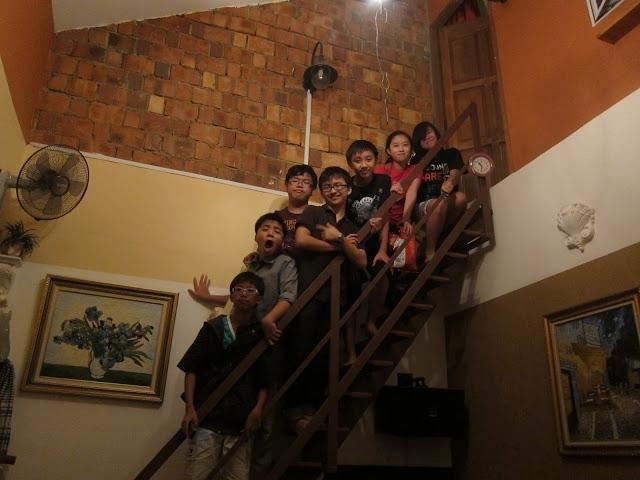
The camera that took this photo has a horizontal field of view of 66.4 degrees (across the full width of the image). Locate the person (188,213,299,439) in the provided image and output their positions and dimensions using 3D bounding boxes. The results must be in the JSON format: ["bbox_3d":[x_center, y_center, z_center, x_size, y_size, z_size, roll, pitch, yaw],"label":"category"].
[{"bbox_3d":[-0.363,0.448,3.783,0.952,1.627,0.876,-7,-59,-5],"label":"person"}]

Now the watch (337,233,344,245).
[{"bbox_3d":[0.148,-0.006,3.599,0.040,0.065,0.019,-13,-44,12],"label":"watch"}]

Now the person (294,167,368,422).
[{"bbox_3d":[0.089,0.358,3.683,0.544,2.026,0.513,8,-23,-13],"label":"person"}]

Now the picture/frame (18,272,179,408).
[{"bbox_3d":[-1.808,0.825,3.892,0.870,0.860,0.064,10,-22,-21],"label":"picture/frame"}]
